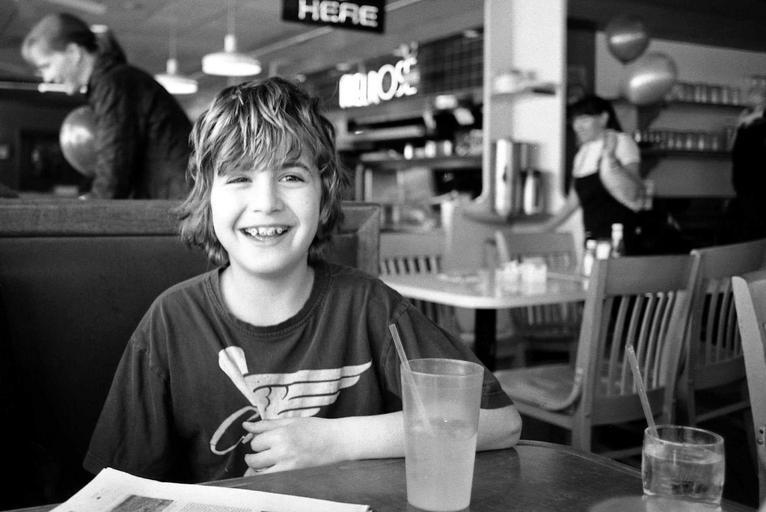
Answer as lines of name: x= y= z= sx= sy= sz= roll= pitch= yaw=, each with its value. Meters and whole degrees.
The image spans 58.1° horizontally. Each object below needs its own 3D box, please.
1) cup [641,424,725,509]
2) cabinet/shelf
cup: x=0.625 y=0.438 z=1.481 sx=0.165 sy=0.124 sz=0.164 roll=1 pitch=-4 yaw=0
cabinet/shelf: x=1.761 y=-0.700 z=3.951 sx=0.377 sy=0.175 sz=0.202 roll=3 pitch=29 yaw=3
